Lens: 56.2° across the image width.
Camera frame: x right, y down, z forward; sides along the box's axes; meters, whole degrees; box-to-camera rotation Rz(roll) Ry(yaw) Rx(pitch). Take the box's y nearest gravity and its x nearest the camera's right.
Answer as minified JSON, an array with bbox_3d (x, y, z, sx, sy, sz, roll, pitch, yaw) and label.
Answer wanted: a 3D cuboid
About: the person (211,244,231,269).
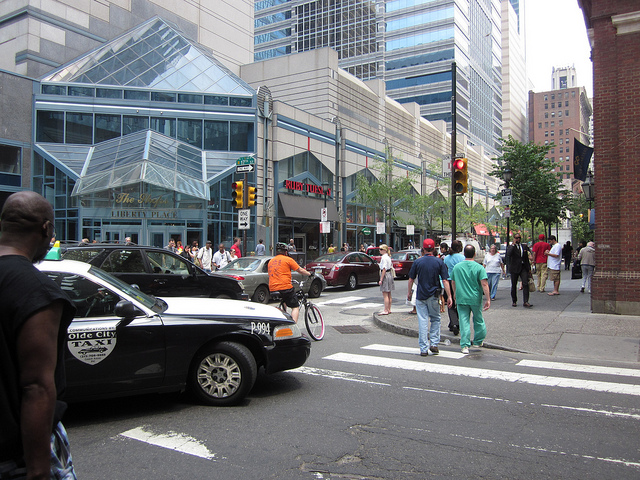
[{"bbox_3d":[-3.685,0.609,22.175,0.806,1.256,0.697,-3,3,-31],"label":"person"}]

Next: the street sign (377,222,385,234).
[{"bbox_3d":[3.614,-0.713,35.738,0.364,0.606,0.982,-1,-2,-1],"label":"street sign"}]

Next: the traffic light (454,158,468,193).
[{"bbox_3d":[3.780,-1.732,16.121,0.313,0.930,0.347,-1,-1,3],"label":"traffic light"}]

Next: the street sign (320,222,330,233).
[{"bbox_3d":[0.245,-0.639,29.348,0.577,0.593,0.143,-1,-4,-10],"label":"street sign"}]

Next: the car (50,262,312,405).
[{"bbox_3d":[-1.707,1.251,7.778,2.950,1.087,1.487,-3,1,-23],"label":"car"}]

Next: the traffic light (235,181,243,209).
[{"bbox_3d":[-2.500,-1.422,18.536,0.234,0.806,0.352,0,-1,-9],"label":"traffic light"}]

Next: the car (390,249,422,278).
[{"bbox_3d":[3.639,1.025,25.704,0.992,0.813,2.342,0,3,26],"label":"car"}]

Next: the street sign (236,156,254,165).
[{"bbox_3d":[-2.349,-2.508,18.878,0.456,0.329,0.690,0,-2,-16],"label":"street sign"}]

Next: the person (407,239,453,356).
[{"bbox_3d":[2.009,1.042,10.993,0.816,2.121,0.570,2,0,18],"label":"person"}]

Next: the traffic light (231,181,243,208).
[{"bbox_3d":[-2.558,-1.422,18.684,0.309,0.820,0.663,0,-1,-9],"label":"traffic light"}]

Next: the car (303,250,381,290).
[{"bbox_3d":[1.010,1.035,22.267,1.270,0.932,2.912,-2,1,33],"label":"car"}]

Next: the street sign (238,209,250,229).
[{"bbox_3d":[-2.332,-0.657,18.569,0.310,0.627,0.485,-1,-1,-4],"label":"street sign"}]

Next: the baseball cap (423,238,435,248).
[{"bbox_3d":[2.033,0.064,11.174,0.141,0.232,0.220,-1,2,6],"label":"baseball cap"}]

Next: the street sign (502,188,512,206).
[{"bbox_3d":[5.969,-1.405,19.150,0.259,0.493,0.589,-1,-2,12],"label":"street sign"}]

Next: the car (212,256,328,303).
[{"bbox_3d":[-1.237,1.053,17.988,1.243,1.132,3.173,-1,0,43],"label":"car"}]

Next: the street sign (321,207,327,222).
[{"bbox_3d":[0.220,-1.213,28.980,0.144,0.654,0.711,0,-2,-11],"label":"street sign"}]

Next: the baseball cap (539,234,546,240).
[{"bbox_3d":[7.189,-0.102,19.450,0.275,0.184,0.280,-1,-3,45],"label":"baseball cap"}]

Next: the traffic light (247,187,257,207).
[{"bbox_3d":[-2.120,-1.339,18.599,0.273,0.569,0.604,0,-2,-14],"label":"traffic light"}]

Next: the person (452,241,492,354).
[{"bbox_3d":[2.835,1.075,11.175,0.740,2.000,0.782,-3,3,-26],"label":"person"}]

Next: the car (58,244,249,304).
[{"bbox_3d":[-3.602,0.614,12.816,3.364,1.347,1.471,1,-3,-34],"label":"car"}]
